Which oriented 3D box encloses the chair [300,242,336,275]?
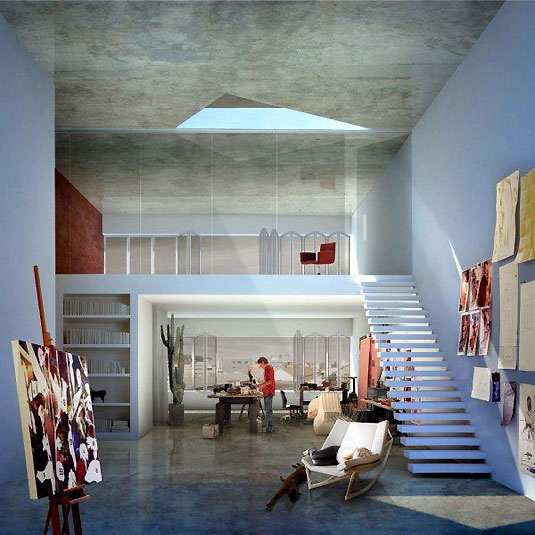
[{"bbox_3d":[1.150,-0.215,11.780,0.578,0.558,0.581,4,-6,-40],"label":"chair"}]

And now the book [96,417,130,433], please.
[{"bbox_3d":[-3.258,3.346,11.100,0.549,0.239,0.803,7,-11,-41],"label":"book"}]

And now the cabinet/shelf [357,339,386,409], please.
[{"bbox_3d":[2.576,2.677,13.101,0.661,2.170,2.151,0,-4,2],"label":"cabinet/shelf"}]

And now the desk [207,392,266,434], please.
[{"bbox_3d":[-0.703,3.183,11.969,1.065,0.757,1.092,-1,-4,4],"label":"desk"}]

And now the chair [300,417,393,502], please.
[{"bbox_3d":[1.048,2.560,7.045,1.171,0.884,1.247,-2,-11,2],"label":"chair"}]
